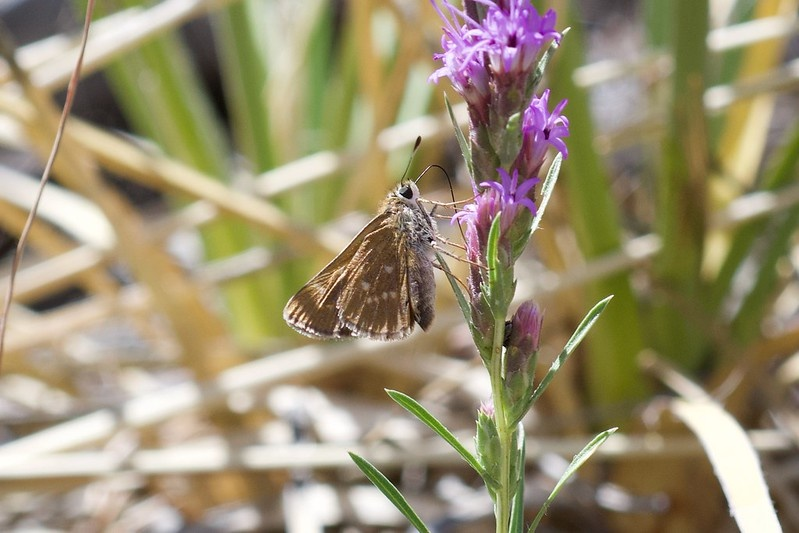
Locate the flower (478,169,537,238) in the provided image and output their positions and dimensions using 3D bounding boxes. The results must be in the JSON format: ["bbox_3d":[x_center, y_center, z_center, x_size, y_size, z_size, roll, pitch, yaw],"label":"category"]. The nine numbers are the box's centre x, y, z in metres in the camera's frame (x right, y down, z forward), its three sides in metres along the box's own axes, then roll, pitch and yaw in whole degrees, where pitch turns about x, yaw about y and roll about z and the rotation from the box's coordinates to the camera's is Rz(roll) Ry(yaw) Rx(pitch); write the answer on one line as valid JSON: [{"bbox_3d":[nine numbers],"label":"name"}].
[{"bbox_3d":[0.266,-0.161,2.127,0.159,0.133,0.131,-7,60,-17],"label":"flower"}]
